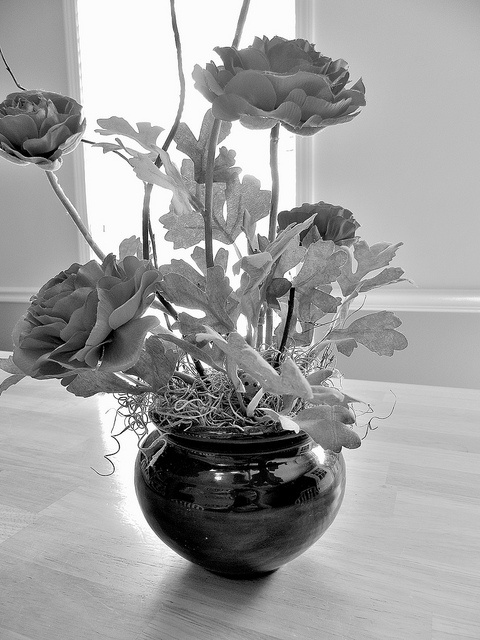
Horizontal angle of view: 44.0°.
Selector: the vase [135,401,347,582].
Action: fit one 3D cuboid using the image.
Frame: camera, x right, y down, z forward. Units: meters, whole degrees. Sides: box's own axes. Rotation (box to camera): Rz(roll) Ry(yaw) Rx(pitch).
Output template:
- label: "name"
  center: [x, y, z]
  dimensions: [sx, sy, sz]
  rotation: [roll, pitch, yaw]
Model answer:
- label: "vase"
  center: [-0.007, 0.149, 0.512]
  dimensions: [0.197, 0.123, 0.193]
  rotation: [0, 4, -3]
